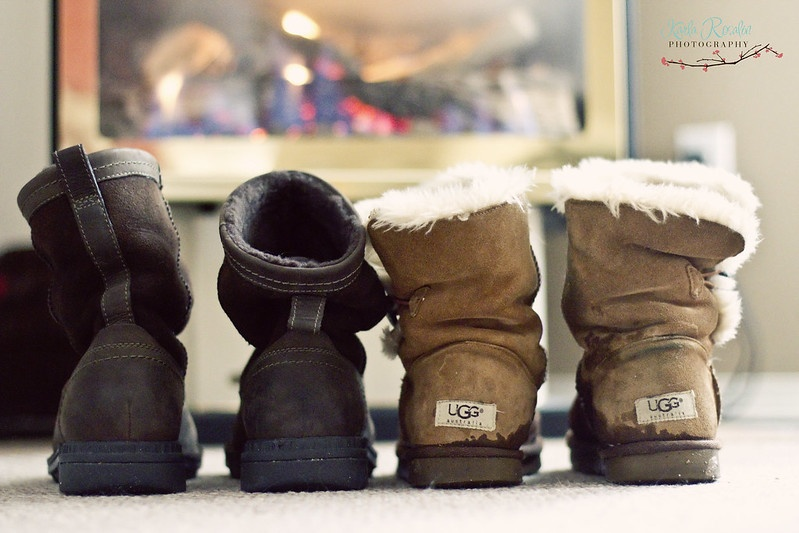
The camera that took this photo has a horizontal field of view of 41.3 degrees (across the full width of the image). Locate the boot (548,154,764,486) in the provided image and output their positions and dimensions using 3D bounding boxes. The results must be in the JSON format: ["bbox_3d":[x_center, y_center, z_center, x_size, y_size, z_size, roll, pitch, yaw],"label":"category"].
[{"bbox_3d":[0.463,0.103,2.078,0.374,0.601,0.620,1,-5,-2],"label":"boot"}]

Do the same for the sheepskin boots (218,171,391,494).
[{"bbox_3d":[-0.162,0.105,1.873,0.308,0.540,0.249,-3,8,-11],"label":"sheepskin boots"}]

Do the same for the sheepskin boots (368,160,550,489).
[{"bbox_3d":[0.102,0.104,1.910,0.318,0.565,0.287,-3,8,-11],"label":"sheepskin boots"}]

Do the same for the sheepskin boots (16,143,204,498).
[{"bbox_3d":[-0.513,0.086,1.853,0.292,0.592,0.238,-3,9,-12],"label":"sheepskin boots"}]
